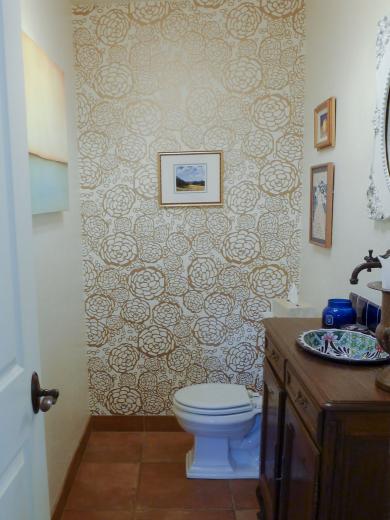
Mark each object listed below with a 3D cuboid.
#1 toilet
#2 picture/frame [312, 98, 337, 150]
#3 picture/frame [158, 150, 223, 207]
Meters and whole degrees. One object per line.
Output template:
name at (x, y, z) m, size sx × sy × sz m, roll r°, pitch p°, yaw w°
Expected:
toilet at (0.140, 0.940, 2.269) m, size 0.463 × 0.374 × 0.395 m, roll -1°, pitch 2°, yaw -4°
picture/frame at (0.639, -0.673, 2.031) m, size 0.028 × 0.240 × 0.266 m, roll 4°, pitch 26°, yaw 33°
picture/frame at (-0.022, -0.508, 2.470) m, size 0.290 × 0.278 × 0.026 m, roll -1°, pitch 8°, yaw 3°
